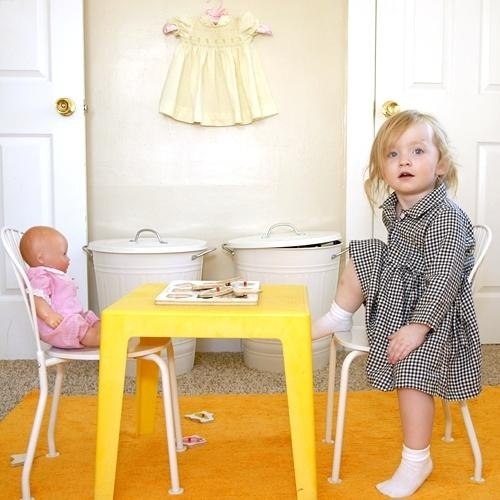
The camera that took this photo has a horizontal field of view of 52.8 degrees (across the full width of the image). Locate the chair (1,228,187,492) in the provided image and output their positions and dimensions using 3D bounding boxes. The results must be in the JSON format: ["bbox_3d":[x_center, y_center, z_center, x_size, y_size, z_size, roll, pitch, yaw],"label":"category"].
[{"bbox_3d":[-0.310,0.214,1.482,0.623,0.873,0.534,-1,5,-1],"label":"chair"}]

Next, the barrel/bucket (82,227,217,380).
[{"bbox_3d":[-0.361,0.207,2.158,0.648,0.580,0.554,-1,0,6],"label":"barrel/bucket"}]

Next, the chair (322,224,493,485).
[{"bbox_3d":[0.447,0.274,1.601,0.621,0.912,0.546,1,-1,1],"label":"chair"}]

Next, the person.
[{"bbox_3d":[0.400,0.091,1.255,0.409,0.865,0.395,-7,12,-27],"label":"person"}]

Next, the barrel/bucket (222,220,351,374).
[{"bbox_3d":[0.067,0.226,2.225,0.686,0.650,0.555,-2,-1,5],"label":"barrel/bucket"}]

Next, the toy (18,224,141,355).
[{"bbox_3d":[-0.425,0.124,1.406,0.327,0.361,0.265,-5,-16,-11],"label":"toy"}]
